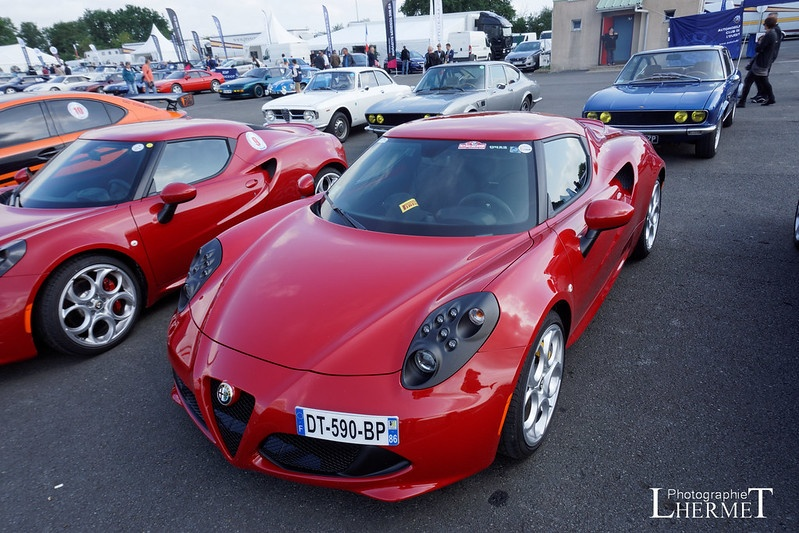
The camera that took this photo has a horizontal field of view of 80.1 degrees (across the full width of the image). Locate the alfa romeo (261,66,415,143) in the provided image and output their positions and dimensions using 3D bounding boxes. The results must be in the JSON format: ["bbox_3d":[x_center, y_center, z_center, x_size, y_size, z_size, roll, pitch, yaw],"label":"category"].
[{"bbox_3d":[-1.435,-4.151,12.756,2.277,1.647,4.449,12,31,27],"label":"alfa romeo"}]

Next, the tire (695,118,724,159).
[{"bbox_3d":[5.238,-2.271,8.065,0.167,0.664,0.630,28,49,35],"label":"tire"}]

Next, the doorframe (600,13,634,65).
[{"bbox_3d":[11.560,-12.118,25.243,1.719,3.157,0.345,5,-13,18],"label":"doorframe"}]

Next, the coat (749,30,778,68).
[{"bbox_3d":[8.691,-5.172,11.357,0.424,0.811,0.721,19,38,39],"label":"coat"}]

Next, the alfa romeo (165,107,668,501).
[{"bbox_3d":[0.562,0.364,3.987,2.157,1.237,3.888,18,45,31],"label":"alfa romeo"}]

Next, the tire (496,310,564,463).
[{"bbox_3d":[0.825,0.773,3.065,0.253,0.916,0.839,18,16,25],"label":"tire"}]

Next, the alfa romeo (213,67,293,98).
[{"bbox_3d":[-6.686,-8.419,21.708,1.450,0.982,3.126,10,28,23],"label":"alfa romeo"}]

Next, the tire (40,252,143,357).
[{"bbox_3d":[-2.749,0.339,4.194,0.225,0.787,0.709,6,-14,39],"label":"tire"}]
